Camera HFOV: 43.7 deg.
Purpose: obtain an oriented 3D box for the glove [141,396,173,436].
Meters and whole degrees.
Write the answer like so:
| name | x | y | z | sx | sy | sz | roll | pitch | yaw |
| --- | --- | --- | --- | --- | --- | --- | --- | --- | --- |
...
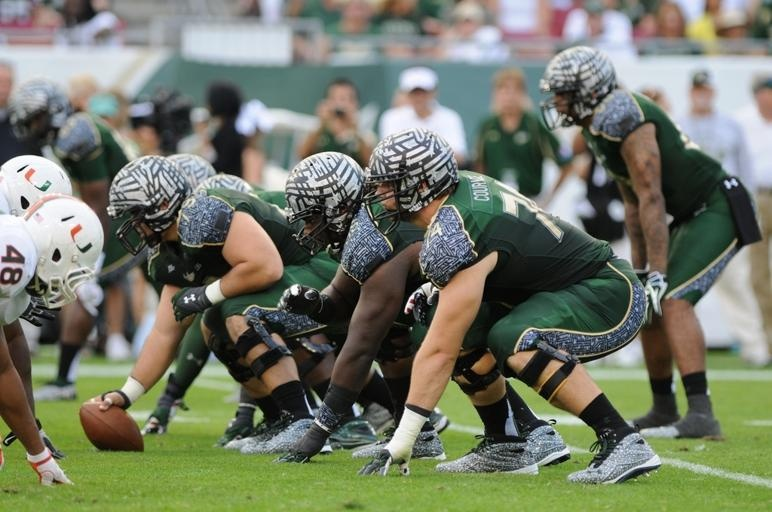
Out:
| name | x | y | z | sx | sy | sz | roll | pitch | yaw |
| --- | --- | --- | --- | --- | --- | --- | --- | --- | --- |
| glove | -1.666 | 1.170 | 7.084 | 0.234 | 0.256 | 0.153 | -2 | 4 | -16 |

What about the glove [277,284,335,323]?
| name | x | y | z | sx | sy | sz | roll | pitch | yaw |
| --- | --- | --- | --- | --- | --- | --- | --- | --- | --- |
| glove | -0.496 | 0.292 | 6.056 | 0.321 | 0.192 | 0.127 | 18 | -50 | -31 |

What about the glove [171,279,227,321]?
| name | x | y | z | sx | sy | sz | roll | pitch | yaw |
| --- | --- | --- | --- | --- | --- | --- | --- | --- | --- |
| glove | -1.213 | 0.275 | 6.389 | 0.359 | 0.217 | 0.140 | -29 | -8 | 13 |

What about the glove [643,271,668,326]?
| name | x | y | z | sx | sy | sz | roll | pitch | yaw |
| --- | --- | --- | --- | --- | --- | --- | --- | --- | --- |
| glove | 1.805 | 0.271 | 6.460 | 0.162 | 0.344 | 0.895 | 1 | 5 | 17 |

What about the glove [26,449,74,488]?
| name | x | y | z | sx | sy | sz | roll | pitch | yaw |
| --- | --- | --- | --- | --- | --- | --- | --- | --- | --- |
| glove | -1.884 | 1.198 | 5.394 | 0.096 | 0.276 | 0.155 | 1 | 40 | 52 |

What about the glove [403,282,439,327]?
| name | x | y | z | sx | sy | sz | roll | pitch | yaw |
| --- | --- | --- | --- | --- | --- | --- | --- | --- | --- |
| glove | 0.226 | 0.276 | 5.888 | 0.159 | 0.275 | 0.114 | 43 | 24 | 22 |

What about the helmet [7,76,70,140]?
| name | x | y | z | sx | sy | sz | roll | pitch | yaw |
| --- | --- | --- | --- | --- | --- | --- | --- | --- | --- |
| helmet | -2.835 | -1.170 | 7.965 | 0.497 | 0.519 | 0.395 | 13 | -13 | -33 |

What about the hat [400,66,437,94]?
| name | x | y | z | sx | sy | sz | roll | pitch | yaw |
| --- | --- | --- | --- | --- | --- | --- | --- | --- | --- |
| hat | 0.350 | -1.931 | 10.484 | 0.379 | 0.292 | 0.314 | -1 | 4 | -3 |
